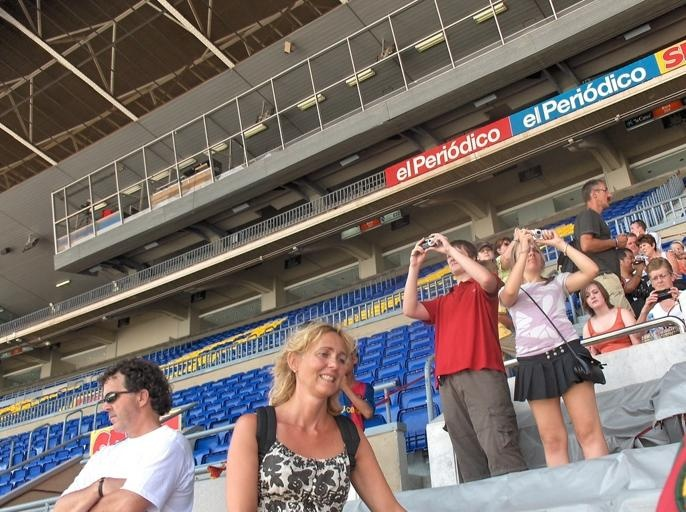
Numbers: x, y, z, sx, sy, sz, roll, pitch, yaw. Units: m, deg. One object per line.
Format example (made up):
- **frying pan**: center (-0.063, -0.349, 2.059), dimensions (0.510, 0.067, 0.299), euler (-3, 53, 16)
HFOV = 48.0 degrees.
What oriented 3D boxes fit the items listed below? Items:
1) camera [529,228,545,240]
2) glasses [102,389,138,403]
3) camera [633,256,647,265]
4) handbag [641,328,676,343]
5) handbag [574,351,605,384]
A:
- **camera**: center (1.976, -0.226, 7.821), dimensions (0.206, 0.153, 0.070), euler (1, -10, 10)
- **glasses**: center (-2.069, 1.258, 6.999), dimensions (0.166, 0.042, 0.148), euler (8, -33, -35)
- **camera**: center (4.414, 0.059, 11.393), dimensions (0.162, 0.072, 0.195), euler (4, 2, 21)
- **handbag**: center (3.650, 0.894, 8.867), dimensions (0.310, 0.092, 0.215), euler (-17, -7, -27)
- **handbag**: center (2.345, 1.060, 7.330), dimensions (0.270, 0.274, 0.109), euler (-4, -25, -12)
